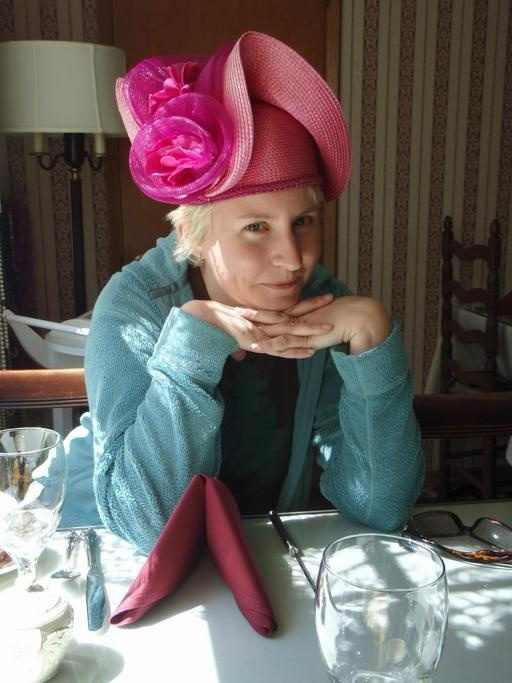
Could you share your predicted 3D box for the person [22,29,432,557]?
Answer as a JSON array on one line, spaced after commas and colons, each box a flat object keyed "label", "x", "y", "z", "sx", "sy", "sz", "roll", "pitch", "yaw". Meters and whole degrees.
[{"label": "person", "x": -0.062, "y": -0.031, "z": 1.079, "sx": 0.492, "sy": 0.785, "sz": 0.600, "roll": -6, "pitch": 6, "yaw": -37}]

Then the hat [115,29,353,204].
[{"label": "hat", "x": 0.009, "y": -0.315, "z": 0.923, "sx": 0.360, "sy": 0.223, "sz": 0.193, "roll": -4, "pitch": 10, "yaw": -33}]
